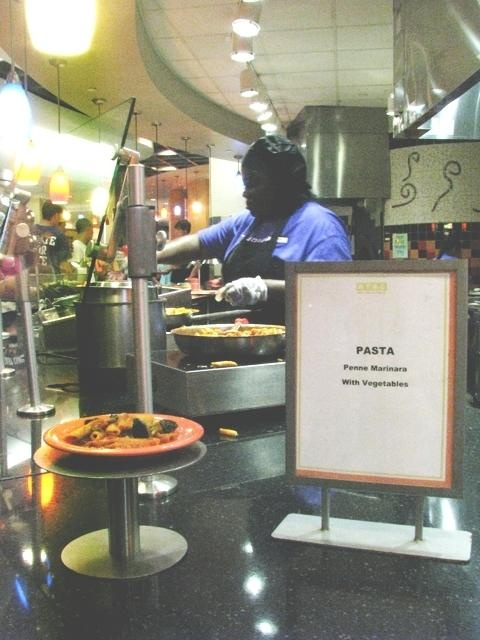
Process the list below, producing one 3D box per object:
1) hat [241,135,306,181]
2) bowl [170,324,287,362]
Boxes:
[{"bbox_3d":[0.121,-0.494,1.902,0.175,0.143,0.128,26,9,0],"label":"hat"},{"bbox_3d":[-0.028,0.049,1.377,0.253,0.068,0.324,-1,3,-14],"label":"bowl"}]
